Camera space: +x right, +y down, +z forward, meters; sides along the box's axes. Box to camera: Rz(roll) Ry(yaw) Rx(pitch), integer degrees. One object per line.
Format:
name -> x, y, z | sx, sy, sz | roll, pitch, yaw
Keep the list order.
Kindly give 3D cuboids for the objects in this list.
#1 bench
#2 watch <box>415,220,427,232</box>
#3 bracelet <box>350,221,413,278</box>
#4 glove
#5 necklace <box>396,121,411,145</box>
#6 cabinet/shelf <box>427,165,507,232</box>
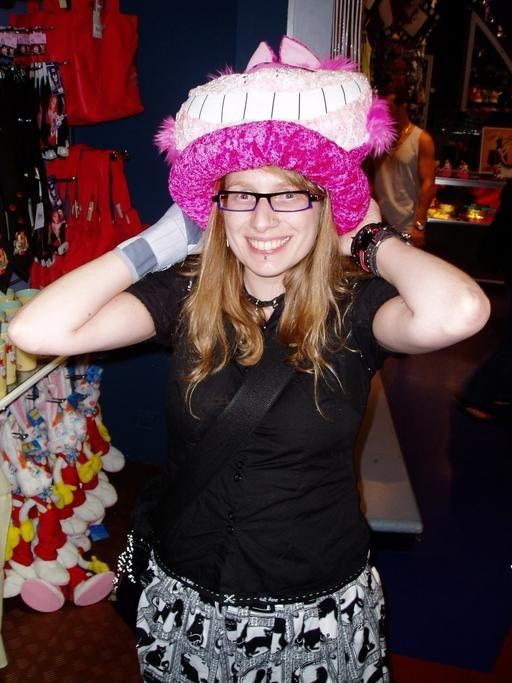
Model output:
bench -> 0.674, 0.560, 2.662 | 0.205, 0.054, 1.194 | -7, 18, 14
watch -> 1.108, -0.784, 3.673 | 0.069, 0.065, 0.051 | -25, 77, -19
bracelet -> 0.242, -0.165, 1.048 | 0.050, 0.093, 0.110 | 59, 10, 26
glove -> -0.176, -0.223, 1.141 | 0.200, 0.109, 0.077 | -42, 17, -30
necklace -> 0.917, -1.304, 3.379 | 0.058, 0.128, 0.219 | 16, 26, 26
cabinet/shelf -> 1.812, -1.210, 4.715 | 0.852, 0.441, 0.503 | 7, 5, 14
